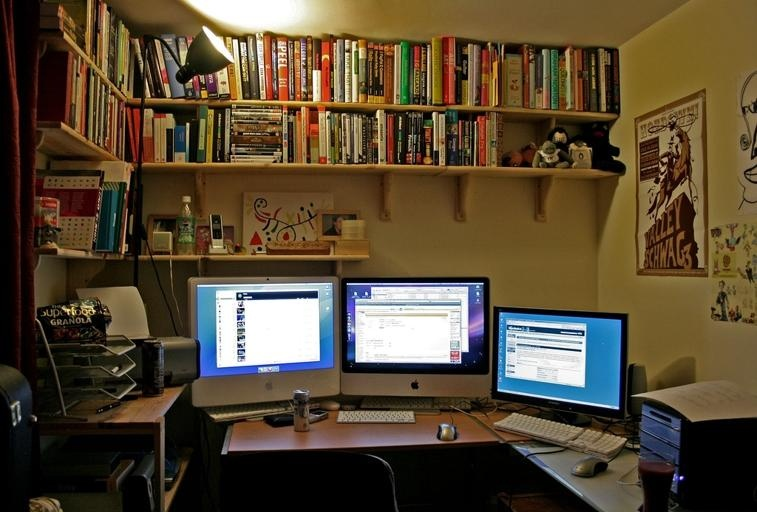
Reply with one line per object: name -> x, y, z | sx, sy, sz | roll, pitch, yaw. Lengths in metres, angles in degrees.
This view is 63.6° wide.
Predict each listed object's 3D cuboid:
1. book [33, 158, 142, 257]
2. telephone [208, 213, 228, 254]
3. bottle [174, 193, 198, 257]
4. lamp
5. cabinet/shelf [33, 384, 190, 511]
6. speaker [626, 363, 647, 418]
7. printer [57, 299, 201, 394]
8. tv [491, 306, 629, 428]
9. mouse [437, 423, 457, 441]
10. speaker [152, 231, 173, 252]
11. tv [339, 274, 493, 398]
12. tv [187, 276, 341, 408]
book -> -1.251, -0.204, 2.862 | 0.509, 0.500, 0.373 | 0, -11, -4
telephone -> -0.800, -0.110, 3.050 | 0.090, 0.185, 0.094 | -2, 13, -16
bottle -> -0.976, -0.163, 3.100 | 0.099, 0.291, 0.222 | -3, 13, -16
lamp -> -0.896, -0.942, 2.883 | 0.459, 0.248, 0.262 | 2, 13, 2
cabinet/shelf -> -1.062, 0.797, 2.509 | 0.439, 0.461, 0.423 | -1, 13, -8
speaker -> 1.164, 0.617, 2.775 | 0.082, 0.225, 0.228 | 7, 14, 23
printer -> -1.062, 0.411, 2.600 | 0.447, 0.437, 0.436 | -1, 2, 16
tv -> 0.852, 0.523, 2.853 | 0.536, 0.415, 0.056 | 2, -2, 24
mouse -> 0.305, 0.787, 2.729 | 0.065, 0.040, 0.065 | 1, -1, 7
speaker -> -1.060, -0.071, 3.010 | 0.099, 0.099, 0.095 | 0, 2, -19
tv -> 0.189, 0.406, 3.027 | 0.570, 0.472, 0.183 | 0, -7, 0
tv -> -0.574, 0.417, 2.933 | 0.622, 0.539, 0.202 | 0, -8, -12
